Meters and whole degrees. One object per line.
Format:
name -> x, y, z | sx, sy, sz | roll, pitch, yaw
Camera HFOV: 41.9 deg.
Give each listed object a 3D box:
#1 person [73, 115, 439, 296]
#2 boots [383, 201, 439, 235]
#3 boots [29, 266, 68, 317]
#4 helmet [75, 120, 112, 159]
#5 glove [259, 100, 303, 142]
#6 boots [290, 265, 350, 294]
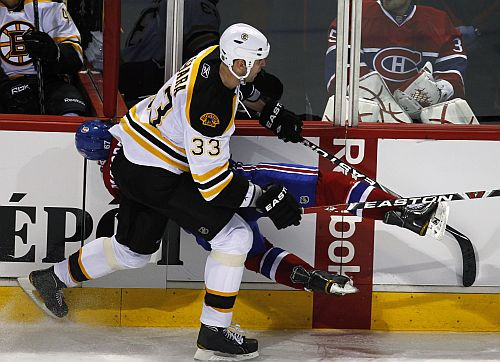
person -> 0.089, 0.154, 4.422 | 2.115, 0.540, 1.185 | 14, -27, 1
boots -> 1.049, 0.227, 4.266 | 0.268, 0.222, 0.094 | 5, -27, 12
boots -> -1.388, 0.749, 4.516 | 0.236, 0.317, 0.108 | -17, 25, 9
helmet -> -1.040, -0.297, 4.373 | 0.274, 0.204, 0.272 | -6, 9, -26
glove -> 0.243, -0.419, 4.468 | 0.335, 0.195, 0.088 | 40, 20, -2
boots -> 0.476, 0.635, 4.296 | 0.291, 0.109, 0.197 | 10, 12, 32
